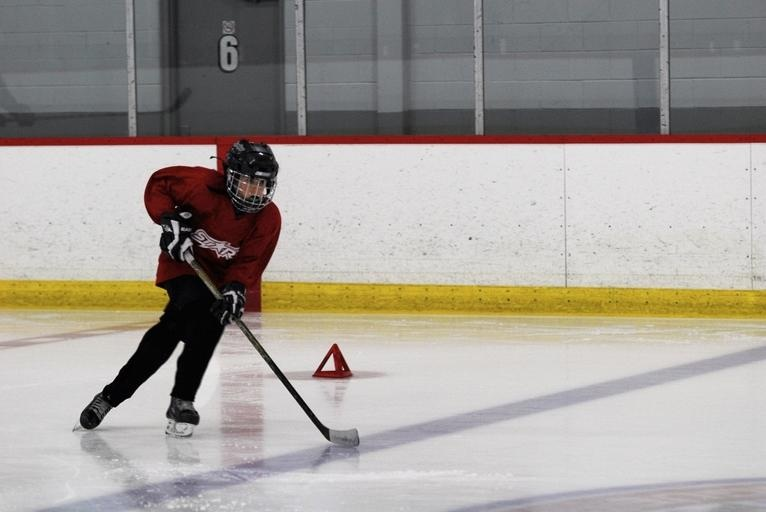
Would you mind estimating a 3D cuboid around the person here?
[{"bbox_3d":[-1.346,0.202,10.576,1.369,1.957,0.925,6,-4,15],"label":"person"}]
